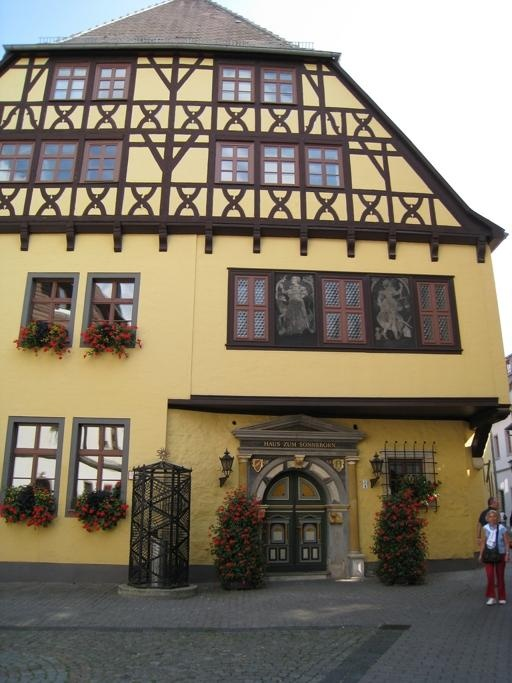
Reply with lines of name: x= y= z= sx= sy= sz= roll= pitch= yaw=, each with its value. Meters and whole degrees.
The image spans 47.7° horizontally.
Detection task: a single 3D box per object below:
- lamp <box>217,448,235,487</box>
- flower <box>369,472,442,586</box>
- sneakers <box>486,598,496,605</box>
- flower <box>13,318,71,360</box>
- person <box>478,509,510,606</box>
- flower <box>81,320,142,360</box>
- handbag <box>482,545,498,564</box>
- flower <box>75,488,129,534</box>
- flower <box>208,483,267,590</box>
lamp: x=-0.573 y=2.492 z=11.384 sx=0.282 sy=0.716 sz=0.549 roll=0 pitch=-18 yaw=-3
flower: x=2.730 y=3.516 z=10.683 sx=1.007 sy=2.083 sz=1.139 roll=19 pitch=-25 yaw=-6
sneakers: x=2.902 y=3.225 z=7.172 sx=0.064 sy=0.074 sz=0.180 roll=-16 pitch=-24 yaw=41
flower: x=-4.250 y=0.024 z=11.608 sx=0.804 sy=0.516 sz=0.900 roll=5 pitch=-5 yaw=-2
person: x=3.011 y=2.718 z=7.309 sx=0.371 sy=1.128 sz=0.640 roll=-7 pitch=-19 yaw=18
flower: x=-2.890 y=-0.100 z=11.642 sx=1.188 sy=0.819 sz=0.539 roll=3 pitch=-18 yaw=-12
handbag: x=2.897 y=2.653 z=7.153 sx=0.112 sy=0.186 sz=0.206 roll=16 pitch=-24 yaw=-41
flower: x=-2.839 y=3.113 z=10.881 sx=0.839 sy=0.567 sz=0.822 roll=3 pitch=-8 yaw=4
flower: x=-0.292 y=3.385 z=9.936 sx=0.862 sy=1.631 sz=0.568 roll=1 pitch=-18 yaw=-4
